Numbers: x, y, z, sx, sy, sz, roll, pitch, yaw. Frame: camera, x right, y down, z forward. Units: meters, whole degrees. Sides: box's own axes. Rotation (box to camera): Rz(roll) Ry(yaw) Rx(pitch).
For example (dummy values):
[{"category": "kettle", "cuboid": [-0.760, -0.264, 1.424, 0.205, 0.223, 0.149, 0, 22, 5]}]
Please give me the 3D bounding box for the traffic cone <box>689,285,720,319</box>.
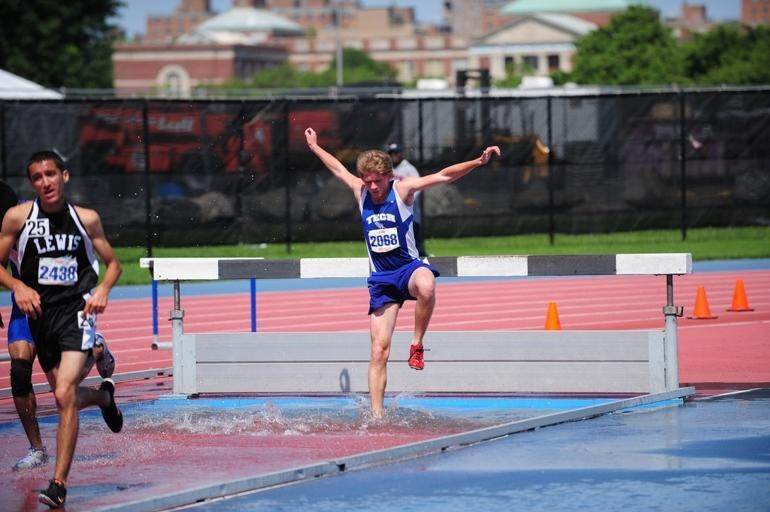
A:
[{"category": "traffic cone", "cuboid": [5.674, 0.874, 29.590, 0.599, 0.553, 0.559, -2, -4, 15]}]
